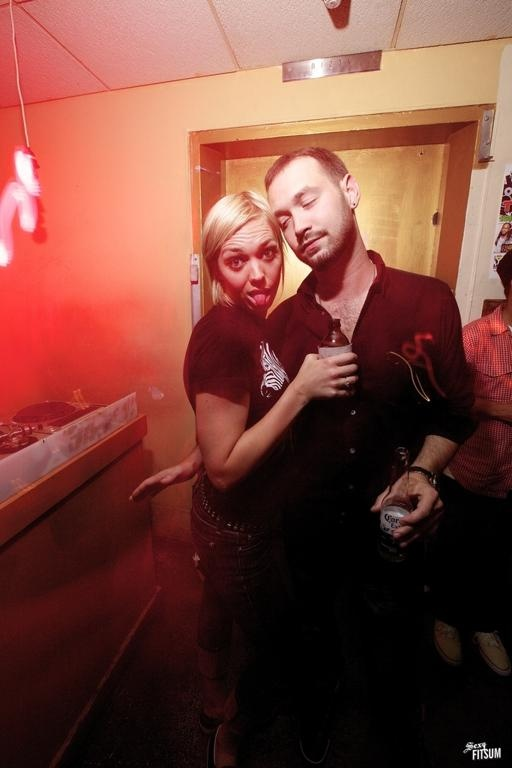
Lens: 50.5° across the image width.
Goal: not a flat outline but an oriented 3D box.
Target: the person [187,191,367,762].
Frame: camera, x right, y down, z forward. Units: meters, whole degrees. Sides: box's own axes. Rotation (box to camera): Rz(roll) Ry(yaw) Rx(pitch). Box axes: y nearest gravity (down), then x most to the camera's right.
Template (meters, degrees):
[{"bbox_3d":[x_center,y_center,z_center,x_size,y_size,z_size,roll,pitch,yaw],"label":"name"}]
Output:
[{"bbox_3d":[-0.024,0.282,1.683,0.441,1.648,0.567,-8,21,-18],"label":"person"}]

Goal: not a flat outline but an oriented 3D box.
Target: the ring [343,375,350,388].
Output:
[{"bbox_3d":[0.241,-0.007,1.447,0.007,0.025,0.017,7,-16,-14],"label":"ring"}]

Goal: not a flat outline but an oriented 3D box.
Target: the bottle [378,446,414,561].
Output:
[{"bbox_3d":[0.420,0.389,1.642,0.082,0.326,0.233,5,22,17],"label":"bottle"}]
